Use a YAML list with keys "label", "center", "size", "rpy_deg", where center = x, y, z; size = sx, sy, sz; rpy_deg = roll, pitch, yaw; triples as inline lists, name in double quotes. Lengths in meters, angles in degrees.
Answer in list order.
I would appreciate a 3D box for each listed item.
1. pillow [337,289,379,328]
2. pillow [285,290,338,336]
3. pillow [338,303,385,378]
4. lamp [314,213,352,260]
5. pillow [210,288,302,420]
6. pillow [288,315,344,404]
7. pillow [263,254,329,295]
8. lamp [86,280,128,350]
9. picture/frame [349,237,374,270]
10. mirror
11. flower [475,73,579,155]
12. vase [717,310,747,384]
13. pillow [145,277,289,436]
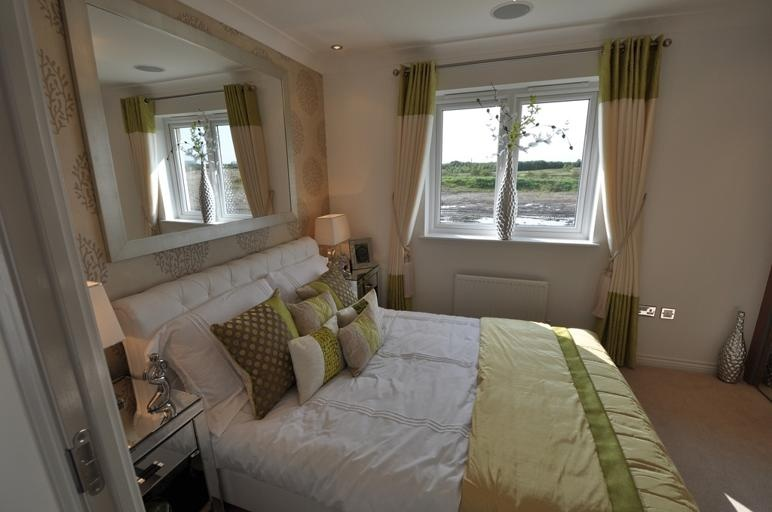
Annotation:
- label: "pillow"
  center: [-0.215, 0.399, 3.525]
  size: [0.066, 0.134, 0.232]
  rpy_deg: [-13, 16, 36]
- label: "pillow"
  center: [-0.486, 0.413, 3.362]
  size: [0.133, 0.261, 0.375]
  rpy_deg: [12, 29, 42]
- label: "pillow"
  center: [-0.180, 0.609, 3.303]
  size: [0.129, 0.263, 0.395]
  rpy_deg: [-6, 15, 20]
- label: "lamp"
  center: [-0.515, -0.183, 4.431]
  size: [0.190, 0.530, 0.315]
  rpy_deg: [3, 20, 16]
- label: "pillow"
  center: [-0.832, 0.659, 2.985]
  size: [0.267, 0.535, 0.595]
  rpy_deg: [2, 19, 20]
- label: "pillow"
  center: [-0.446, 0.694, 3.244]
  size: [0.187, 0.399, 0.621]
  rpy_deg: [-5, 5, 20]
- label: "pillow"
  center: [-0.717, 0.159, 3.722]
  size: [0.113, 0.239, 0.648]
  rpy_deg: [-35, -5, 24]
- label: "lamp"
  center: [-1.615, 0.322, 2.709]
  size: [0.127, 0.370, 0.254]
  rpy_deg: [-9, 17, -32]
- label: "picture/frame"
  center: [-0.237, -0.024, 4.696]
  size: [0.231, 0.292, 0.016]
  rpy_deg: [-8, -19, 0]
- label: "mirror"
  center: [-1.424, -0.859, 3.165]
  size: [0.033, 1.334, 1.597]
  rpy_deg: [0, 16, 21]
- label: "flower"
  center: [1.297, -1.249, 4.376]
  size: [0.901, 0.560, 0.126]
  rpy_deg: [1, 14, 6]
- label: "vase"
  center: [2.927, 0.769, 3.931]
  size: [0.180, 0.605, 0.138]
  rpy_deg: [11, 18, 39]
- label: "pillow"
  center: [-1.099, 0.651, 2.975]
  size: [0.222, 0.731, 0.760]
  rpy_deg: [-17, 14, 33]
